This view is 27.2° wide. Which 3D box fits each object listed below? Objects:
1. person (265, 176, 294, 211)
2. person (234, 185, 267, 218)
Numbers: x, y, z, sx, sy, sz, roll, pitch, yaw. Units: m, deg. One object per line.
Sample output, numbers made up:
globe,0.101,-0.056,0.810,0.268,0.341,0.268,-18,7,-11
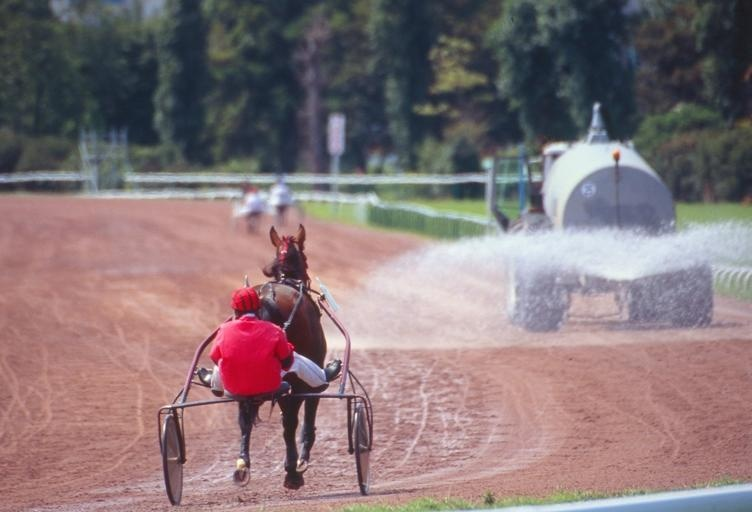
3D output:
person,-2.392,-1.578,39.293,0.562,0.850,0.644,-3,4,-31
person,-3.148,-1.385,39.318,0.537,0.761,0.974,-2,3,-22
